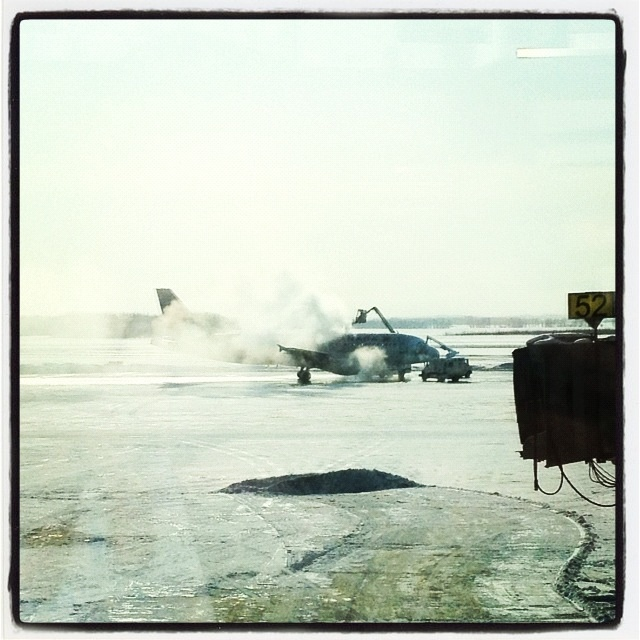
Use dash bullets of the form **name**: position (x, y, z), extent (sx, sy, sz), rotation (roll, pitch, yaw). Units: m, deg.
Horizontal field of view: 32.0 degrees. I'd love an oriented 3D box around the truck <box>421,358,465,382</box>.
- **truck**: position (5.434, 2.087, 46.945), extent (2.979, 1.149, 0.822), rotation (-2, 3, -43)
